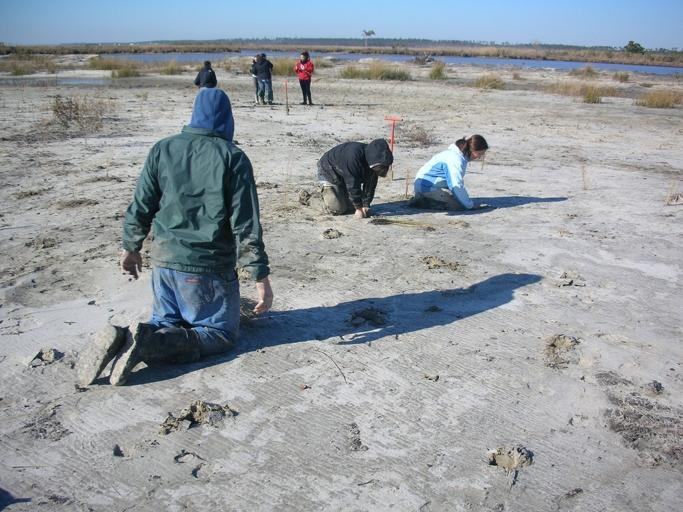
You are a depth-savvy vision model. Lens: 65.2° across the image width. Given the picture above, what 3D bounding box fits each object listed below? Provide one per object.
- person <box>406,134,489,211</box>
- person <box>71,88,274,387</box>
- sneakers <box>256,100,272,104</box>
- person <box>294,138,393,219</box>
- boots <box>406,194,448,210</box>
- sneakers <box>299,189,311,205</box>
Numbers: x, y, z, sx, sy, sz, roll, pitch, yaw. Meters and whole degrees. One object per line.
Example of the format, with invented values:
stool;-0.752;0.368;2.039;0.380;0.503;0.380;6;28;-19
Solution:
person;1.626;-1.295;8.023;1.096;0.961;0.934;6;29;10
person;-1.320;0.040;4.225;1.326;1.889;0.711;-9;27;-19
sneakers;-2.565;-5.182;17.832;0.444;0.126;0.273;0;3;-8
person;0.168;-1.106;7.408;1.174;1.124;0.515;20;32;38
boots;1.314;-0.802;8.046;0.399;0.130;0.284;4;3;-4
sneakers;-0.560;-0.906;8.116;0.189;0.079;0.226;13;40;13
